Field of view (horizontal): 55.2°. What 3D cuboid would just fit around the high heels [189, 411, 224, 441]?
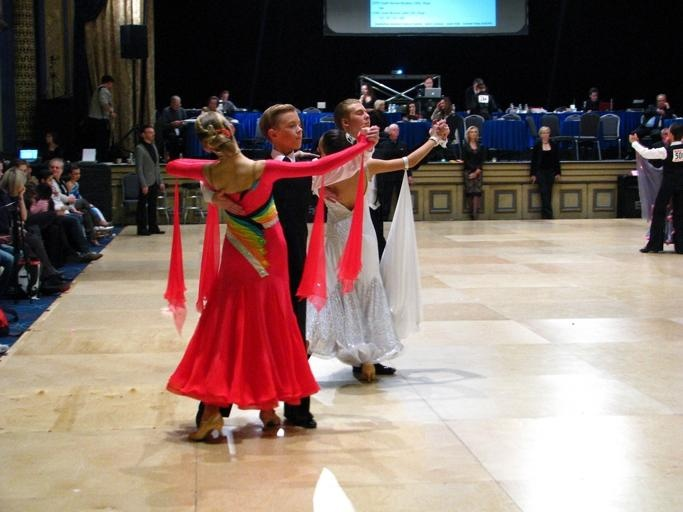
[{"bbox_3d":[-0.721,0.931,3.516,0.097,0.127,0.258,-4,-13,-36],"label":"high heels"}]

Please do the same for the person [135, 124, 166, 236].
[{"bbox_3d":[-3.671,-1.408,12.325,0.495,2.031,0.686,-3,11,-16],"label":"person"}]

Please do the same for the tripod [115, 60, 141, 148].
[{"bbox_3d":[-5.650,-3.968,17.167,0.709,2.430,1.827,-3,10,-16],"label":"tripod"}]

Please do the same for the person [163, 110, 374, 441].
[{"bbox_3d":[-0.499,0.028,3.408,0.871,1.521,0.371,0,10,-1],"label":"person"}]

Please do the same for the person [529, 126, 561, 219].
[{"bbox_3d":[4.608,-1.847,14.744,0.665,2.048,0.469,3,11,15],"label":"person"}]

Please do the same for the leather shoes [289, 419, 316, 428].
[{"bbox_3d":[-0.218,0.943,3.714,0.149,0.055,0.047,5,-2,11],"label":"leather shoes"}]

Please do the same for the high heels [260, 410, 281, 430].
[{"bbox_3d":[-0.405,0.930,3.692,0.064,0.087,0.187,2,2,12],"label":"high heels"}]

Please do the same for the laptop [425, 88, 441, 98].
[{"bbox_3d":[2.310,-4.118,16.592,0.438,0.257,0.290,0,-5,-1],"label":"laptop"}]

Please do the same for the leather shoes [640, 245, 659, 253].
[{"bbox_3d":[4.776,-0.098,10.045,0.334,0.138,0.110,0,4,8],"label":"leather shoes"}]
